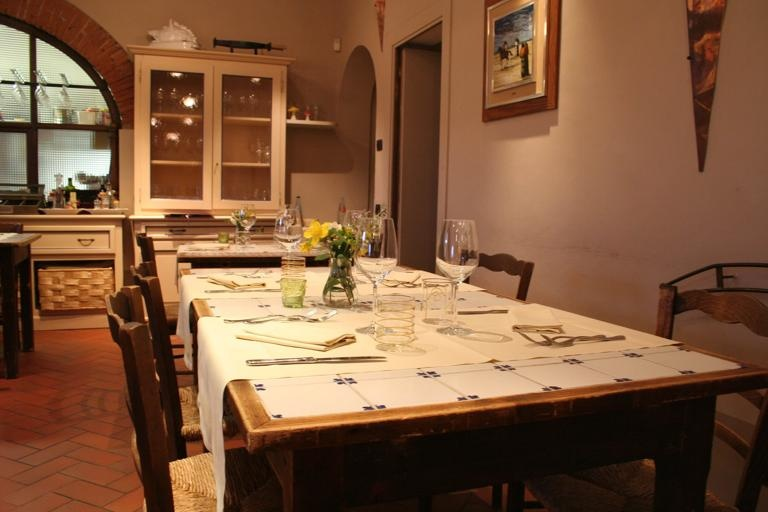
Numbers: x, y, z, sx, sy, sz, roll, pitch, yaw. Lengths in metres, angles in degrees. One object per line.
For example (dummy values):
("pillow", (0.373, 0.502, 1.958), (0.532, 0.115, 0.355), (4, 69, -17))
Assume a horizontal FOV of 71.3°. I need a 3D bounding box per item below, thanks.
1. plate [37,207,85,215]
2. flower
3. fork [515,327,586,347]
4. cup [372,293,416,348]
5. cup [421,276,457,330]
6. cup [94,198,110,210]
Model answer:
("plate", (-3.007, -0.420, 5.014), (0.398, 0.059, 0.131), (-1, 14, -7))
("flower", (-0.142, 0.010, 2.050), (0.293, 0.385, 0.343), (0, 2, 8))
("fork", (0.528, 0.256, 1.673), (0.110, 0.034, 0.076), (-7, 8, -19))
("cup", (0.027, 0.193, 1.639), (0.145, 0.148, 0.142), (0, 2, 0))
("cup", (0.206, 0.177, 1.973), (0.148, 0.155, 0.141), (2, 3, 0))
("cup", (-2.803, -0.515, 5.323), (0.151, 0.099, 0.141), (0, 3, 0))
